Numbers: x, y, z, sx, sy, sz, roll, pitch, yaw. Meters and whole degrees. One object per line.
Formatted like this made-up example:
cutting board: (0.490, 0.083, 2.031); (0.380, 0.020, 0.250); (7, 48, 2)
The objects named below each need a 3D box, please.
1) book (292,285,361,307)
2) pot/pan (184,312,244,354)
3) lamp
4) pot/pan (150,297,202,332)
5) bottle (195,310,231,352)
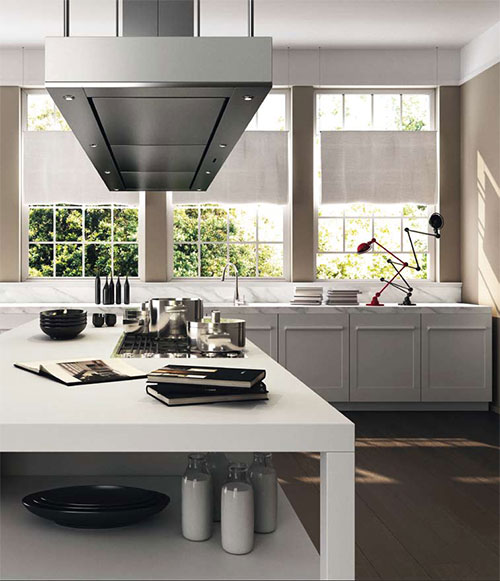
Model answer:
book: (0.614, 0.039, 4.750); (0.541, 0.140, 0.541); (2, 3, 10)
pot/pan: (-0.122, 0.143, 2.112); (0.128, 0.105, 0.181); (0, 3, -1)
lamp: (1.391, -0.294, 5.282); (0.699, 0.776, 1.775); (2, 3, 18)
pot/pan: (-0.317, 0.084, 2.478); (0.148, 0.131, 0.172); (1, 3, 2)
bottle: (-0.134, 0.150, 2.080); (0.100, 0.124, 0.136); (1, 2, 0)
